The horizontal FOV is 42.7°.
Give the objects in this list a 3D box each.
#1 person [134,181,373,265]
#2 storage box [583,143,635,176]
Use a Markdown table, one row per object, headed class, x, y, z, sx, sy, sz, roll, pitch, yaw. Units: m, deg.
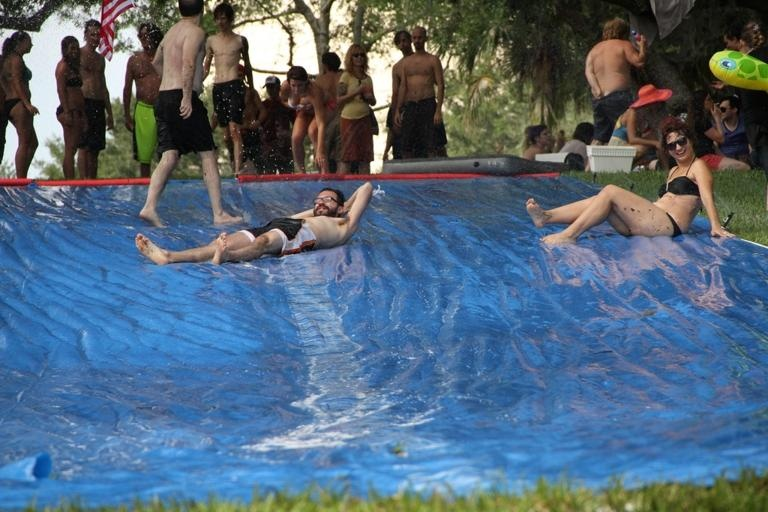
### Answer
| class | x | y | z | sx | sy | sz | roll | pitch | yaw |
| --- | --- | --- | --- | --- | --- | --- | --- | --- | --- |
| person | -1.326 | -0.270 | 10.371 | 2.119 | 0.589 | 1.081 | -6 | 4 | -35 |
| storage box | 3.410 | -1.479 | 14.700 | 0.624 | 0.285 | 0.429 | 0 | 6 | -3 |
